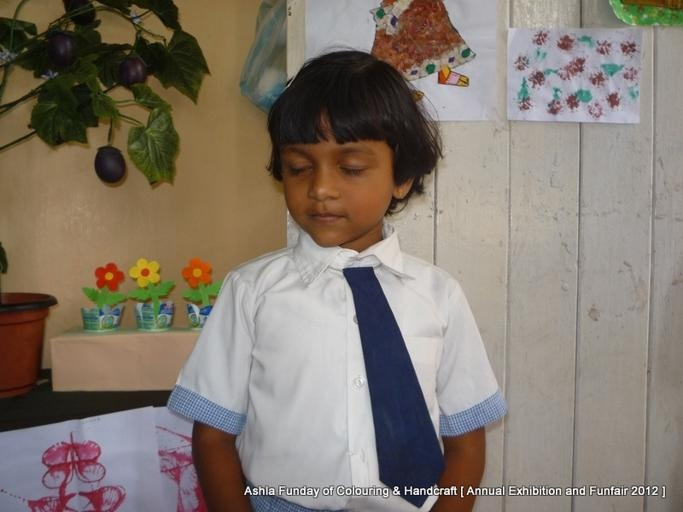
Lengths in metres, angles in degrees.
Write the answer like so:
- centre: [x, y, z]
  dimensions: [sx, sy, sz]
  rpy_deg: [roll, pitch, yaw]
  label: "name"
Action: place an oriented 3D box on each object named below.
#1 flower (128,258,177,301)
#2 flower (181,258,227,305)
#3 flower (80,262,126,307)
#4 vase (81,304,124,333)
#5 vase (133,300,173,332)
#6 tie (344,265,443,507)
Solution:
- centre: [-0.524, 0.046, 1.742]
  dimensions: [0.123, 0.124, 0.091]
  rpy_deg: [-1, 9, -28]
  label: "flower"
- centre: [-0.378, 0.071, 1.764]
  dimensions: [0.103, 0.144, 0.121]
  rpy_deg: [2, 7, -2]
  label: "flower"
- centre: [-0.631, 0.080, 1.688]
  dimensions: [0.118, 0.123, 0.108]
  rpy_deg: [0, 8, -14]
  label: "flower"
- centre: [-0.641, 0.167, 1.671]
  dimensions: [0.075, 0.059, 0.079]
  rpy_deg: [0, -10, 0]
  label: "vase"
- centre: [-0.497, 0.159, 1.672]
  dimensions: [0.078, 0.062, 0.073]
  rpy_deg: [-2, -2, 15]
  label: "vase"
- centre: [0.113, 0.272, 1.340]
  dimensions: [0.200, 0.454, 0.080]
  rpy_deg: [-2, -1, -1]
  label: "tie"
